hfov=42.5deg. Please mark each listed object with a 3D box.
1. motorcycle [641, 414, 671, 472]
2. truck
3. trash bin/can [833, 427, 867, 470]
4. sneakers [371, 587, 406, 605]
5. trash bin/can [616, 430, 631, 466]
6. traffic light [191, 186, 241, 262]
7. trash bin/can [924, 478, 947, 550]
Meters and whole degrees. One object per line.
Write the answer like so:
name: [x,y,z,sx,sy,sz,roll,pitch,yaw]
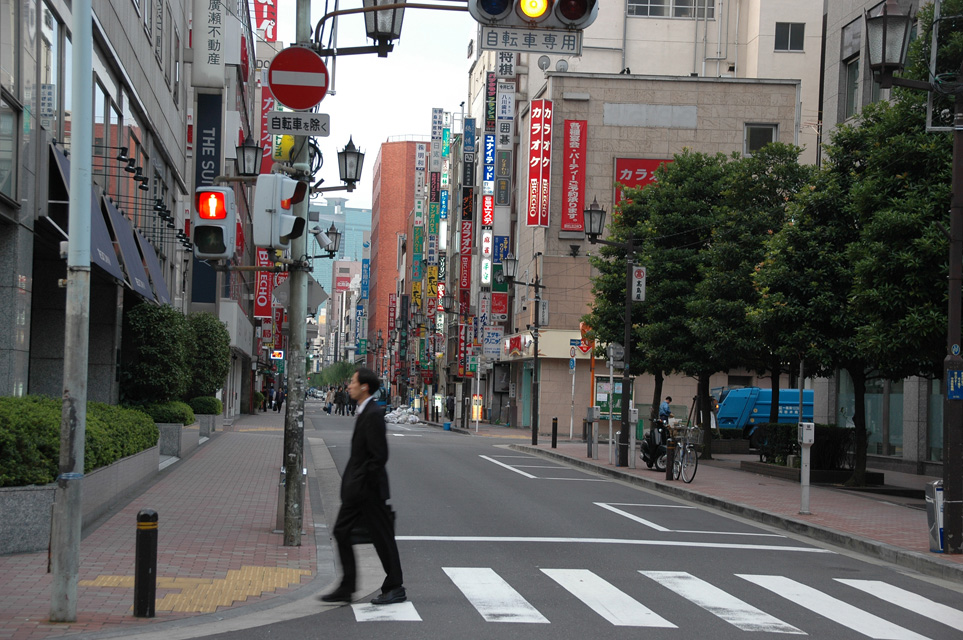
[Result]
motorcycle: [5.000,3.632,35.379,0.706,1.454,1.422,2,-3,-3]
truck: [10.380,3.735,46.182,4.687,2.448,2.221,2,-5,5]
trash bin/can: [9.857,3.489,33.255,0.683,1.189,3.119,1,-4,16]
sneakers: [-1.366,4.188,18.609,0.541,0.272,0.217,1,-4,-6]
trash bin/can: [4.216,3.877,36.988,0.416,1.061,0.658,1,-3,6]
traffic light: [-3.980,-1.580,20.390,0.590,1.285,1.497,2,-2,-19]
trash bin/can: [8.175,3.602,22.445,0.280,1.255,0.472,1,-3,16]
